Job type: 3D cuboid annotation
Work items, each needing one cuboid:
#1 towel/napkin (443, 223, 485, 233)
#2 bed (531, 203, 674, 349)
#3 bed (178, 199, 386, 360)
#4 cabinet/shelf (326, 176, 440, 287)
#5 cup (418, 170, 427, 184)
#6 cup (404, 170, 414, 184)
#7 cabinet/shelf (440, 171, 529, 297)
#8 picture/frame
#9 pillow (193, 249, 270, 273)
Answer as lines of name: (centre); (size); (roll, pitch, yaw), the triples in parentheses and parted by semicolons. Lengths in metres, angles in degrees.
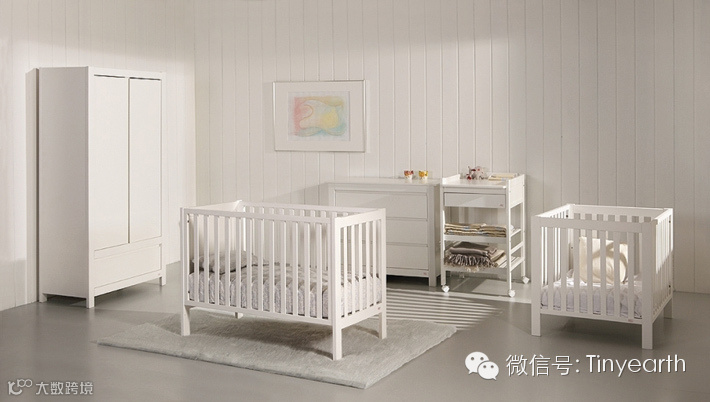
towel/napkin: (1.329, 0.333, 6.679); (0.460, 0.099, 0.170); (3, 14, 13)
bed: (2.525, 0.773, 5.792); (1.272, 1.078, 1.371); (11, -18, 13)
bed: (-0.749, 0.786, 5.723); (1.999, 1.296, 1.134); (-1, -2, 30)
cabinet/shelf: (0.462, 0.474, 7.376); (0.599, 1.204, 1.467); (-10, -6, -41)
cup: (0.900, -0.334, 7.175); (0.123, 0.125, 0.147); (-1, 2, 9)
cup: (0.706, -0.332, 7.259); (0.132, 0.148, 0.151); (8, 12, 29)
cabinet/shelf: (1.590, 0.373, 6.874); (1.160, 1.284, 1.030); (3, 7, 38)
picture/frame: (-0.453, -1.201, 7.643); (1.145, 0.760, 0.081); (1, 3, 17)
pillow: (-1.266, 0.610, 5.416); (0.359, 0.095, 0.385); (7, 9, 36)
